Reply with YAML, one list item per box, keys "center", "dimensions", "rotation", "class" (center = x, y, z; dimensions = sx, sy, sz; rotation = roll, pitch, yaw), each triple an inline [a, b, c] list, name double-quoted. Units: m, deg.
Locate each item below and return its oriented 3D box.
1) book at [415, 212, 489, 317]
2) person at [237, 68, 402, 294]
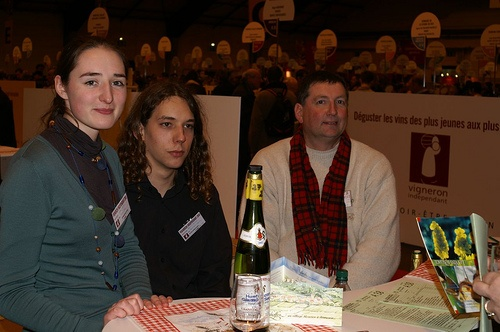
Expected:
- center: [0.864, 0.373, 1.533]
  dimensions: [0.289, 0.382, 0.325]
  rotation: [-7, -11, 14]
  class: "book"
- center: [0.486, 0.187, 2.612]
  dimensions: [1.020, 1.595, 0.900]
  rotation: [-2, 6, -6]
  class: "person"
